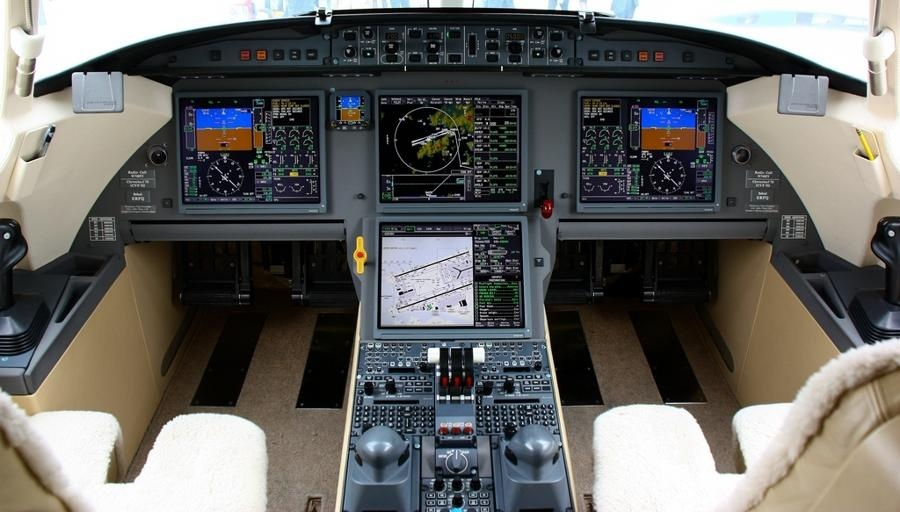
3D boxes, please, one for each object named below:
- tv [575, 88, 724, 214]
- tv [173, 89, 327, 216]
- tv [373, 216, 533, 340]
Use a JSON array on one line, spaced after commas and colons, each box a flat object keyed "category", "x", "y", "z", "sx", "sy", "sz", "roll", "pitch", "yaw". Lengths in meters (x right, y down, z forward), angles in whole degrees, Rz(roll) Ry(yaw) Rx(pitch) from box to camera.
[{"category": "tv", "x": 1.299, "y": -0.716, "z": 3.977, "sx": 0.876, "sy": 0.658, "sz": 0.069, "roll": 0, "pitch": 5, "yaw": 1}, {"category": "tv", "x": -1.277, "y": -0.705, "z": 3.949, "sx": 0.874, "sy": 0.654, "sz": 0.069, "roll": 0, "pitch": 3, "yaw": -3}, {"category": "tv", "x": 0.027, "y": 0.170, "z": 3.877, "sx": 0.830, "sy": 0.552, "sz": 0.035, "roll": 0, "pitch": -11, "yaw": -3}]
